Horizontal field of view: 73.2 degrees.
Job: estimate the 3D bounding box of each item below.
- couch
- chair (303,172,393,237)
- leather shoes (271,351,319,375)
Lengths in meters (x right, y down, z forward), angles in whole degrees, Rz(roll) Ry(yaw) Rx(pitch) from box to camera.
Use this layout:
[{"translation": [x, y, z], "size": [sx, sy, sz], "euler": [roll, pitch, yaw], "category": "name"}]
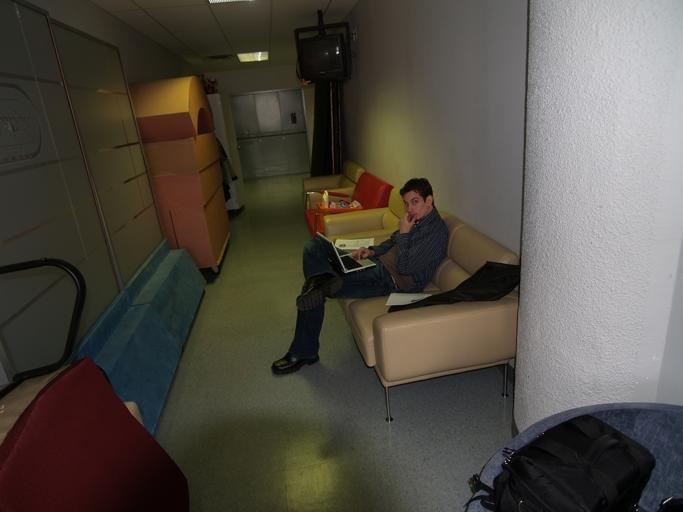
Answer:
[{"translation": [0.581, 0.354, 3.341], "size": [1.096, 0.945, 1.230], "euler": [-8, 21, -6], "category": "couch"}, {"translation": [0.059, -0.702, 5.594], "size": [0.797, 0.803, 1.165], "euler": [-5, 28, -9], "category": "chair"}, {"translation": [-0.343, 0.790, 3.566], "size": [0.382, 0.161, 0.144], "euler": [-6, 8, -22], "category": "leather shoes"}]
